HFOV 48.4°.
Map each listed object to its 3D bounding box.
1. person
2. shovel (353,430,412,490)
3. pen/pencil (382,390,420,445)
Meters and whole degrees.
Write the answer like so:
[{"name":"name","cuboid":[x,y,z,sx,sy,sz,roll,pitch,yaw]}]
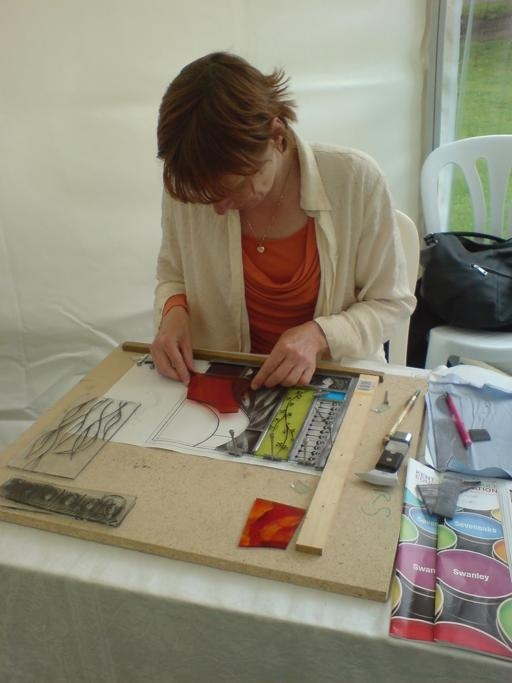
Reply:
[{"name":"person","cuboid":[-0.012,-0.233,1.241,0.656,0.699,0.495,3,23,19]},{"name":"shovel","cuboid":[0.209,0.182,0.882,0.059,0.024,0.134,9,31,30]},{"name":"pen/pencil","cuboid":[0.253,0.135,0.993,0.015,0.015,0.146,17,32,26]}]
